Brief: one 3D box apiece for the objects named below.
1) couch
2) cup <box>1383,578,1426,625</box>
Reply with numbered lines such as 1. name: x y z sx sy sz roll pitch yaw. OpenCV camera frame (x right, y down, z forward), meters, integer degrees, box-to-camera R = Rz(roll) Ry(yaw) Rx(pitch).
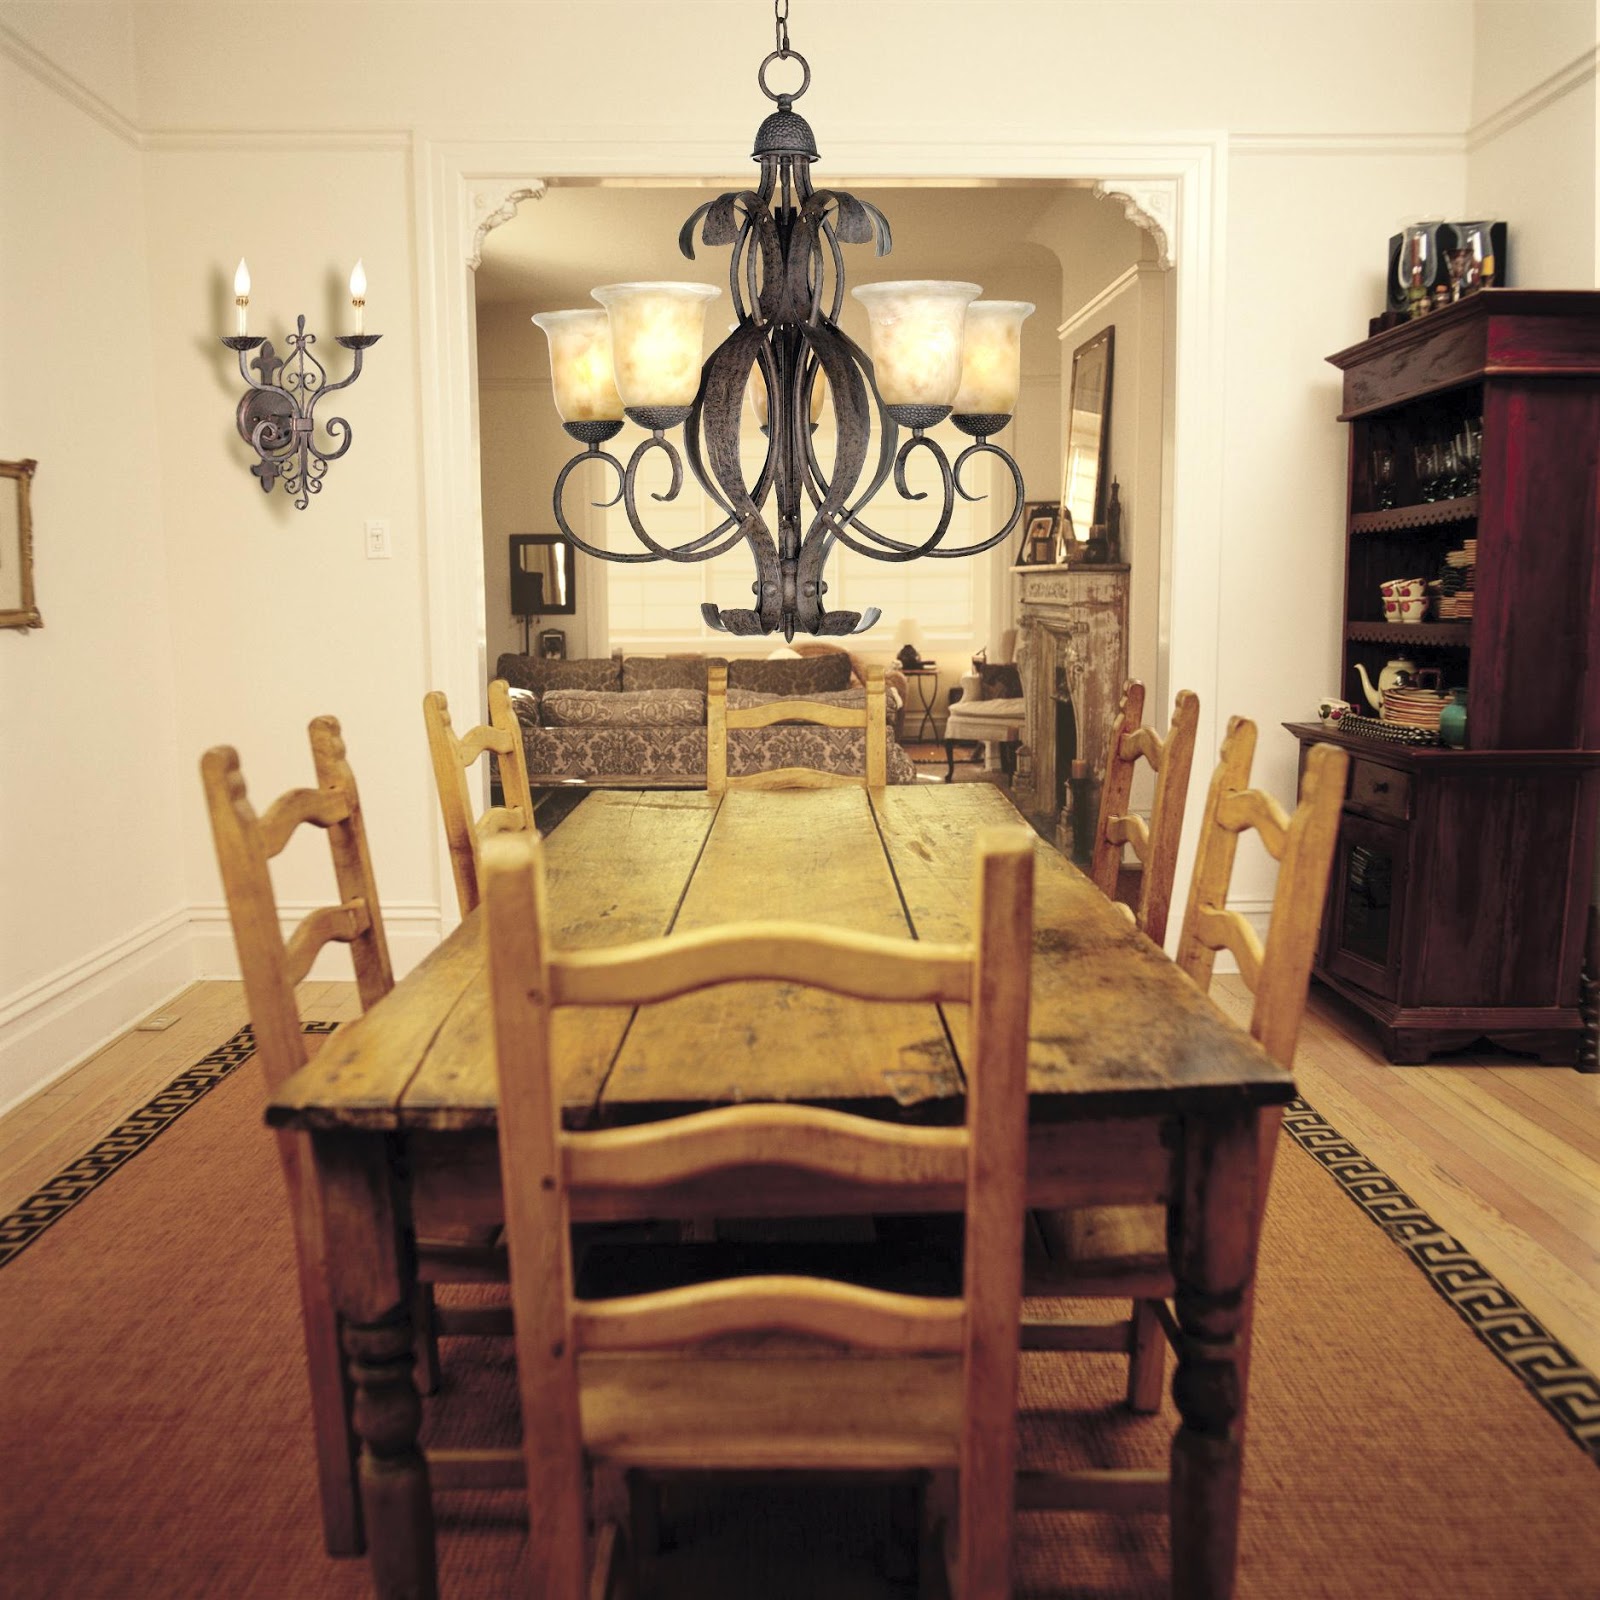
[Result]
1. couch: -0.503 -0.316 5.754 1.655 0.757 0.588 -1 -8 -3
2. cup: 1.595 -0.525 3.749 0.096 0.112 0.143 0 -1 9
